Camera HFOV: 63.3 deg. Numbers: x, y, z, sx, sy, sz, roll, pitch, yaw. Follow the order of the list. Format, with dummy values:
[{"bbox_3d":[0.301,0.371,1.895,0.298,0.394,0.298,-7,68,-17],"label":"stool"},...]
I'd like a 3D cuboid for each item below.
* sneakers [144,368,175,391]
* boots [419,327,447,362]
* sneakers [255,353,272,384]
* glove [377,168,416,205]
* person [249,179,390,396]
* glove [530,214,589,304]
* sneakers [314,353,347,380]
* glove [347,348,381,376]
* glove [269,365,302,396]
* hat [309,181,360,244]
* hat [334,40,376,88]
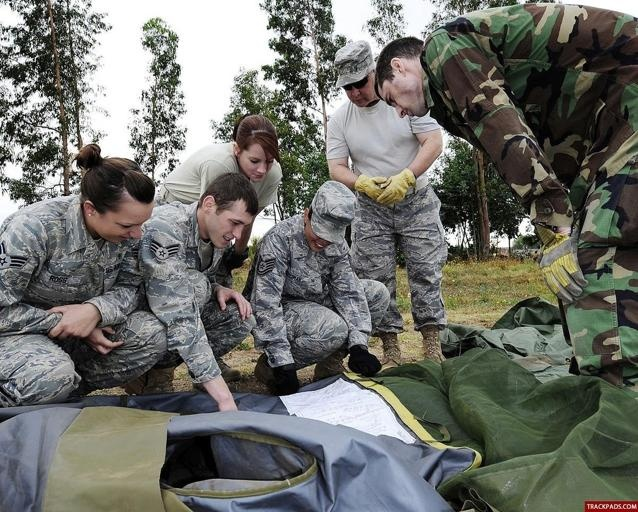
[{"bbox_3d":[-0.966,0.765,3.202,0.166,0.165,0.162,2,11,-2],"label":"sneakers"},{"bbox_3d":[0.804,0.637,3.710,0.127,0.346,0.262,-7,-17,26],"label":"boots"},{"bbox_3d":[-0.383,0.782,3.573,0.162,0.188,0.203,-1,10,-5],"label":"sneakers"},{"bbox_3d":[0.523,-0.431,3.426,0.263,0.185,0.122,-30,-33,-5],"label":"glove"},{"bbox_3d":[0.030,0.232,3.379,0.973,1.175,0.930,24,35,36],"label":"person"},{"bbox_3d":[1.023,0.031,2.201,0.211,0.331,0.103,-37,-23,29],"label":"glove"},{"bbox_3d":[0.072,0.741,3.470,0.133,0.223,0.178,9,27,23],"label":"sneakers"},{"bbox_3d":[0.272,0.643,3.181,0.137,0.068,0.173,6,23,-32],"label":"glove"},{"bbox_3d":[-0.192,0.738,2.994,0.139,0.177,0.283,-3,1,-1],"label":"glove"},{"bbox_3d":[0.097,-0.270,3.201,0.256,0.410,0.191,10,-19,-17],"label":"hat"},{"bbox_3d":[0.218,-1.312,3.475,0.296,0.317,0.281,-3,0,16],"label":"hat"}]
